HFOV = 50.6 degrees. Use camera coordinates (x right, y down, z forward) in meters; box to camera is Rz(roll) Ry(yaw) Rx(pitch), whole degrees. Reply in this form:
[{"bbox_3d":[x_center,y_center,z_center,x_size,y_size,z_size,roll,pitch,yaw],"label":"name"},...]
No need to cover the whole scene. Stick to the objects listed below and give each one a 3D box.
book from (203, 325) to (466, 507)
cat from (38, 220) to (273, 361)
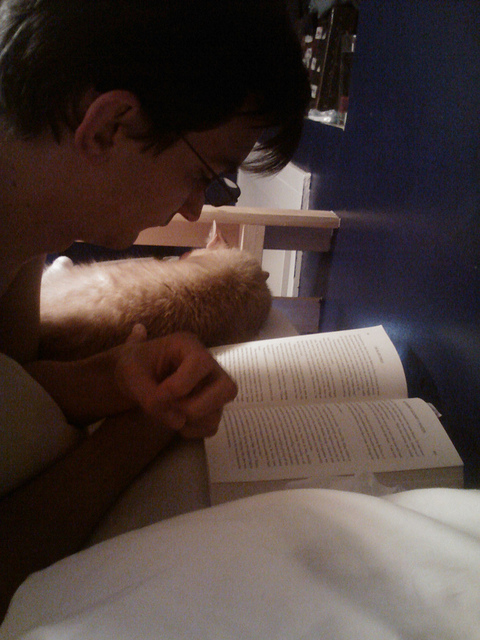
[{"bbox_3d":[0.124,0.143,0.727,0.190,0.082,0.307,-3,47,-5],"label":"book"},{"bbox_3d":[-0.153,-0.050,0.971,0.286,0.141,0.175,-19,19,-19],"label":"cat"}]
